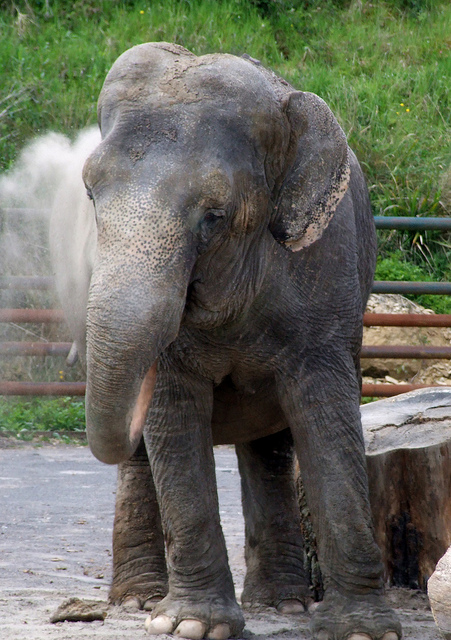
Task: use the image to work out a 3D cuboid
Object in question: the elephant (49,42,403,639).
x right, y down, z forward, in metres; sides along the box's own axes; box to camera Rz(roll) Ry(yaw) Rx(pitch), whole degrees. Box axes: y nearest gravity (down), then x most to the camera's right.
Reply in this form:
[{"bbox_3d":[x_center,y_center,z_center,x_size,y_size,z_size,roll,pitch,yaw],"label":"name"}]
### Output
[{"bbox_3d":[0.013,0.130,2.920,0.741,1.537,1.173,-1,31,-8],"label":"elephant"}]
